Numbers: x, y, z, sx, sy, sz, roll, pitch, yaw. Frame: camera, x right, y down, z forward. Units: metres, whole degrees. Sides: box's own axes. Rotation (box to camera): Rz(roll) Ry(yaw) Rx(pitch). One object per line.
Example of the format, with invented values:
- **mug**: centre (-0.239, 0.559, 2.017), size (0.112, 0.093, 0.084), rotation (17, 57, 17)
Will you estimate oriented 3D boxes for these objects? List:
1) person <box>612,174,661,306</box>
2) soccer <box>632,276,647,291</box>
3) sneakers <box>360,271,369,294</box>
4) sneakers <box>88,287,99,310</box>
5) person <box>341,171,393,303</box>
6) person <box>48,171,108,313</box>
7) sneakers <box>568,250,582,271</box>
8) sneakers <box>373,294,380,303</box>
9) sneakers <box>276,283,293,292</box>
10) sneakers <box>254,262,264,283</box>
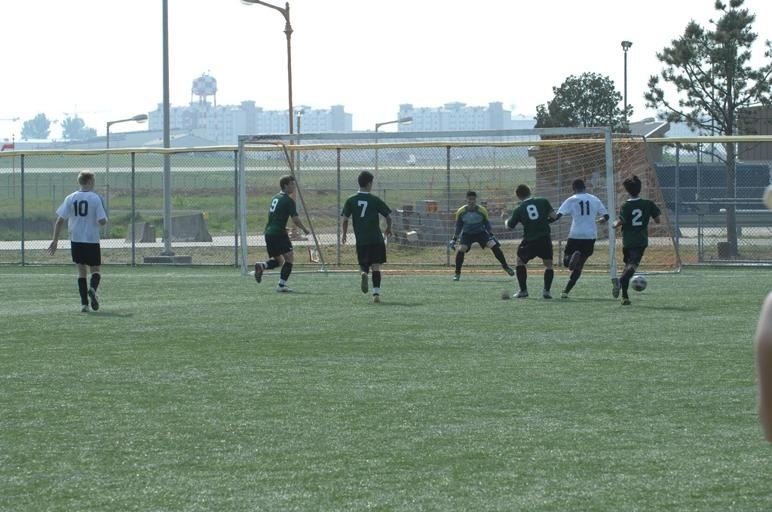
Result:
- **person**: centre (4.367, -0.243, 25.750), size (0.724, 2.263, 1.497), rotation (3, 13, 9)
- **soccer**: centre (4.538, 0.473, 26.395), size (0.267, 0.244, 0.254), rotation (3, -15, -13)
- **sneakers**: centre (-0.325, 0.466, 26.136), size (0.155, 0.416, 0.173), rotation (0, 3, -7)
- **sneakers**: centre (-4.852, 0.731, 24.732), size (0.163, 0.397, 0.173), rotation (-11, 18, -1)
- **person**: centre (-0.316, -0.302, 26.185), size (0.850, 2.335, 1.329), rotation (1, 13, -1)
- **person**: centre (-5.074, -0.220, 24.861), size (0.949, 2.362, 0.715), rotation (10, 16, 33)
- **sneakers**: centre (3.349, 0.078, 26.068), size (0.164, 0.344, 0.163), rotation (17, -4, -24)
- **sneakers**: centre (-0.144, 0.726, 25.858), size (0.114, 0.131, 0.324), rotation (-1, -8, -1)
- **sneakers**: centre (-1.856, 0.551, 27.556), size (0.267, 0.194, 0.334), rotation (0, 13, -4)
- **sneakers**: centre (-2.410, 0.296, 27.949), size (0.160, 0.435, 0.217), rotation (4, 30, 8)
